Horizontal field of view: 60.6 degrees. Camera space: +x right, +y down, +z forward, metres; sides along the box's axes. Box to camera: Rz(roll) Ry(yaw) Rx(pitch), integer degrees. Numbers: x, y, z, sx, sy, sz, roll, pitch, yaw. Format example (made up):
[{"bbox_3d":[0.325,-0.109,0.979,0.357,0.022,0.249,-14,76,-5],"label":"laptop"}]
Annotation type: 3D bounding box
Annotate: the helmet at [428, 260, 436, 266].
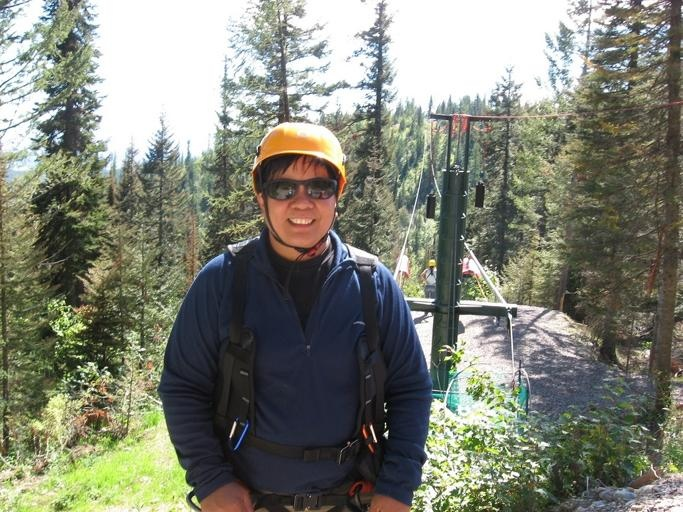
[{"bbox_3d":[3.960,0.312,25.536,0.275,0.256,0.437,0,-3,-2],"label":"helmet"}]
